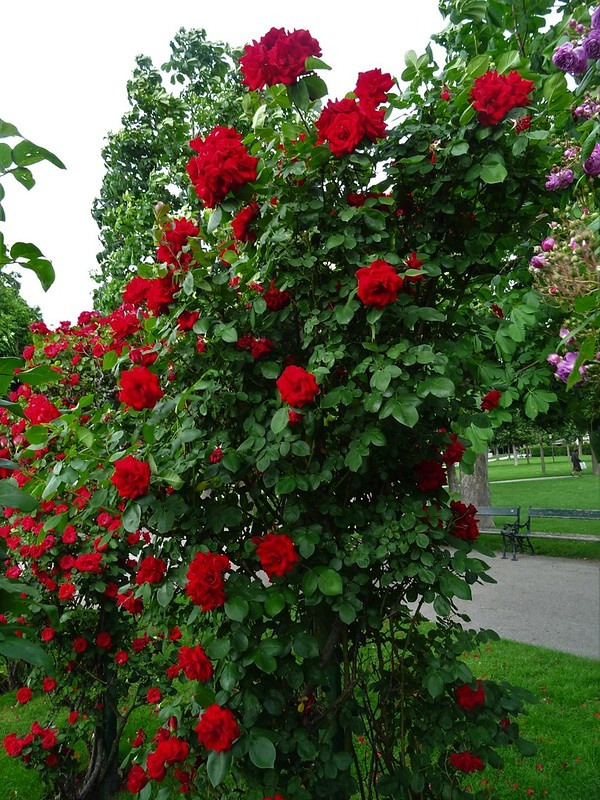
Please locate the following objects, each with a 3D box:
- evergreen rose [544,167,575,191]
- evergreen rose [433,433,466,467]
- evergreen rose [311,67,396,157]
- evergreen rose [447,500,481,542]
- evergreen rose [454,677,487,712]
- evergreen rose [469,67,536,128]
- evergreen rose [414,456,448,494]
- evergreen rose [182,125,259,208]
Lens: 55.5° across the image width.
[{"bbox_3d":[0.708,-0.618,1.578,0.077,0.060,0.030,7,14,-25],"label":"evergreen rose"},{"bbox_3d":[0.536,0.171,1.995,0.077,0.110,0.209,-1,-5,21],"label":"evergreen rose"},{"bbox_3d":[0.149,-0.813,1.616,0.193,0.258,0.128,-2,-6,32],"label":"evergreen rose"},{"bbox_3d":[0.572,0.436,1.978,0.156,0.144,0.155,0,11,14],"label":"evergreen rose"},{"bbox_3d":[0.557,0.961,1.850,0.105,0.044,0.098,2,30,23],"label":"evergreen rose"},{"bbox_3d":[0.579,-0.825,1.600,0.165,0.150,0.102,-24,-26,25],"label":"evergreen rose"},{"bbox_3d":[0.435,0.252,1.885,0.125,0.106,0.069,-3,-8,13],"label":"evergreen rose"},{"bbox_3d":[-0.213,-0.677,1.649,0.236,0.206,0.187,-1,32,-6],"label":"evergreen rose"}]
